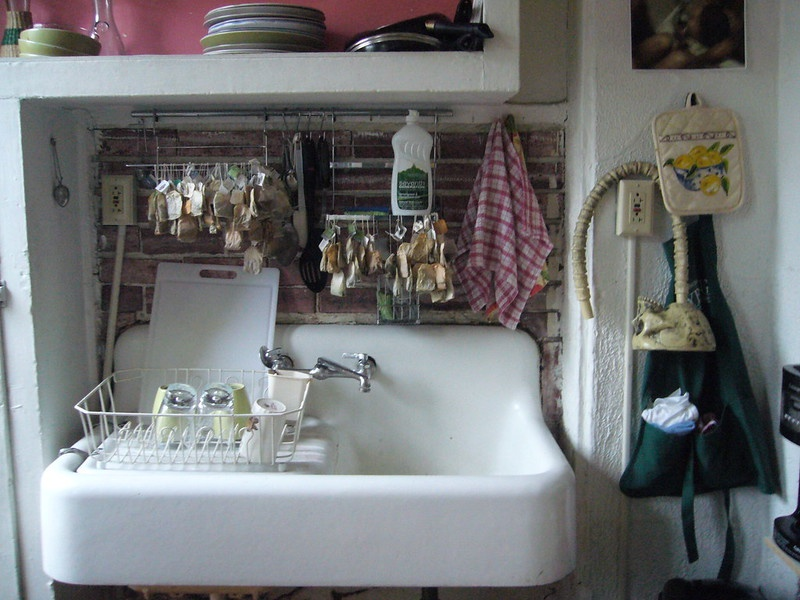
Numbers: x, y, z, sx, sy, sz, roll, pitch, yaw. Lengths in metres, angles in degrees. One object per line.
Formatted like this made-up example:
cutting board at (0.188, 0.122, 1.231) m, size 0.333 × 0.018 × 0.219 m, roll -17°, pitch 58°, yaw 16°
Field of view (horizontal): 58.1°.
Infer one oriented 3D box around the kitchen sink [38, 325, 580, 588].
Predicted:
kitchen sink at (-0.217, 0.388, 1.919) m, size 1.280 × 0.584 × 0.476 m, roll -2°, pitch 4°, yaw 0°

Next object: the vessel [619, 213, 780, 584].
vessel at (0.794, 0.255, 1.914) m, size 0.381 × 0.976 × 0.184 m, roll -1°, pitch 13°, yaw 16°

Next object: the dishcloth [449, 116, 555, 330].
dishcloth at (0.288, -0.213, 2.072) m, size 0.271 × 0.594 × 0.126 m, roll -2°, pitch 4°, yaw 3°

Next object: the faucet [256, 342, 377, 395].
faucet at (-0.236, 0.194, 2.078) m, size 0.261 × 0.140 × 0.157 m, roll 5°, pitch -5°, yaw 5°

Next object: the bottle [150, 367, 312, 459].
bottle at (-0.434, 0.282, 1.852) m, size 0.326 × 0.123 × 0.223 m, roll 2°, pitch -5°, yaw -10°

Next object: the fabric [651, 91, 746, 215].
fabric at (0.786, -0.381, 1.879) m, size 0.286 × 0.424 × 0.055 m, roll -4°, pitch -7°, yaw 0°
